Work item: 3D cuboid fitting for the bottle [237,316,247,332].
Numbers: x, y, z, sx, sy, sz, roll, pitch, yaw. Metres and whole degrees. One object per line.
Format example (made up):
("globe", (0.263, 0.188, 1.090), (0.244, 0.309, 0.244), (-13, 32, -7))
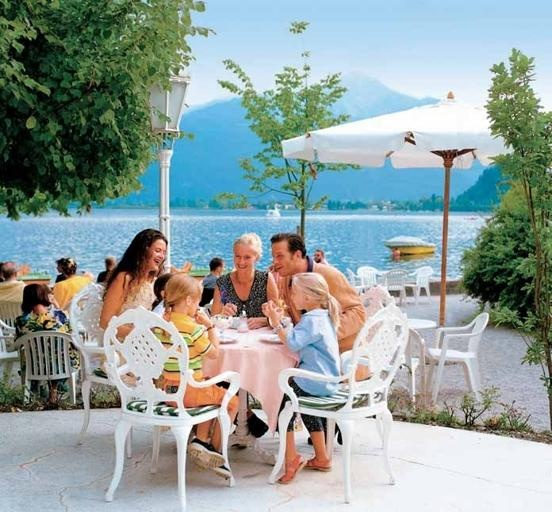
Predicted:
("bottle", (-0.260, 0.535, 5.712), (0.083, 0.104, 0.086), (0, 5, 0))

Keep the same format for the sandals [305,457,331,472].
("sandals", (0.291, 1.485, 5.330), (0.166, 0.089, 0.082), (4, 2, 19))

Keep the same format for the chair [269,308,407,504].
("chair", (0.422, 0.986, 5.223), (0.874, 1.276, 0.945), (2, 0, 0))

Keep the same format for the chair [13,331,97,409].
("chair", (-2.126, 1.041, 7.344), (0.686, 1.092, 0.780), (1, 9, -8))

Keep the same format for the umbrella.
("umbrella", (1.744, -0.634, 7.784), (2.195, 2.079, 2.475), (1, 9, -8))

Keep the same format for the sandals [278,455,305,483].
("sandals", (0.119, 1.485, 5.163), (0.243, 0.078, 0.091), (-50, 20, -23))

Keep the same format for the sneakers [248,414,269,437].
("sneakers", (-0.161, 1.335, 5.816), (0.117, 0.217, 0.206), (-8, -13, -5))

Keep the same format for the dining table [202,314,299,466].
("dining table", (-0.231, 1.070, 5.382), (0.606, 0.670, 0.610), (7, 5, 24))

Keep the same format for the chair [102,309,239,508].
("chair", (-0.808, 0.972, 5.062), (0.786, 1.280, 1.051), (0, 0, -31))
